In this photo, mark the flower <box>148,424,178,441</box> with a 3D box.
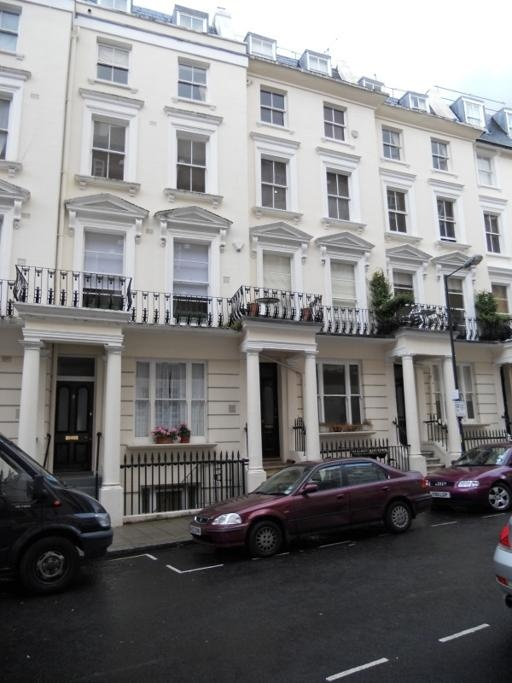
[{"bbox_3d":[-2.252,2.315,13.464,0.621,0.387,0.426,0,-10,-11],"label":"flower"}]

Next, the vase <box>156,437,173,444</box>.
[{"bbox_3d":[-2.238,2.420,13.327,0.422,0.150,0.188,-1,-9,-6],"label":"vase"}]

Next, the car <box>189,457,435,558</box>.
[{"bbox_3d":[0.941,2.699,9.248,3.738,1.277,1.614,2,-14,-26],"label":"car"}]

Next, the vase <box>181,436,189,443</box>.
[{"bbox_3d":[-1.760,2.443,13.624,0.157,0.122,0.157,0,-13,-5],"label":"vase"}]

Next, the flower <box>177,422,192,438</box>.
[{"bbox_3d":[-1.805,2.251,13.799,0.314,0.355,0.355,0,-10,-10],"label":"flower"}]

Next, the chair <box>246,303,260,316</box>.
[{"bbox_3d":[-0.081,-0.759,13.464,0.300,0.404,0.306,-3,-6,18],"label":"chair"}]

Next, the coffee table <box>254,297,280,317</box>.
[{"bbox_3d":[0.306,-0.888,13.911,0.545,0.386,0.557,2,-20,-3],"label":"coffee table"}]
